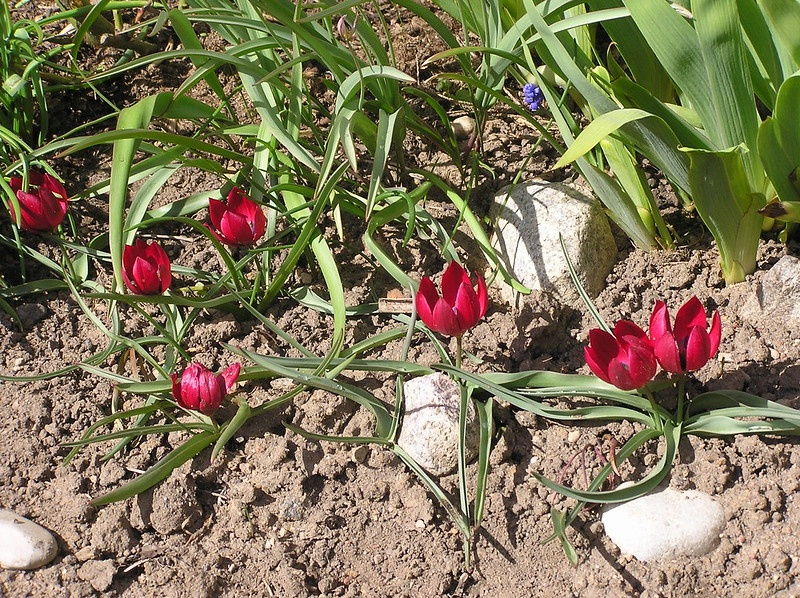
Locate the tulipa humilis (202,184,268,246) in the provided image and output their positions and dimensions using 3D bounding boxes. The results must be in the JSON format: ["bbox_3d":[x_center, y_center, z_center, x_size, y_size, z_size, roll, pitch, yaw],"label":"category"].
[{"bbox_3d":[-0.457,-0.218,2.252,0.145,0.179,0.145,3,47,-2],"label":"tulipa humilis"}]

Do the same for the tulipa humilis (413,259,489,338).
[{"bbox_3d":[0.127,0.002,2.123,0.182,0.200,0.167,-30,43,-33],"label":"tulipa humilis"}]

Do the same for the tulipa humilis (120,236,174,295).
[{"bbox_3d":[-0.690,-0.056,2.164,0.090,0.135,0.118,1,34,-2],"label":"tulipa humilis"}]

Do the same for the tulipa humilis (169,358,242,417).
[{"bbox_3d":[-0.501,0.224,2.123,0.116,0.167,0.159,6,25,20],"label":"tulipa humilis"}]

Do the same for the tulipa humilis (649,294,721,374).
[{"bbox_3d":[0.703,0.091,2.015,0.175,0.159,0.142,-17,34,6],"label":"tulipa humilis"}]

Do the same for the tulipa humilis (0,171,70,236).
[{"bbox_3d":[-1.077,-0.233,2.326,0.192,0.247,0.176,1,-1,-24],"label":"tulipa humilis"}]
